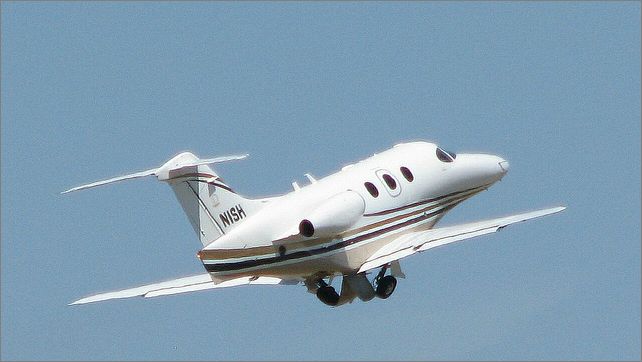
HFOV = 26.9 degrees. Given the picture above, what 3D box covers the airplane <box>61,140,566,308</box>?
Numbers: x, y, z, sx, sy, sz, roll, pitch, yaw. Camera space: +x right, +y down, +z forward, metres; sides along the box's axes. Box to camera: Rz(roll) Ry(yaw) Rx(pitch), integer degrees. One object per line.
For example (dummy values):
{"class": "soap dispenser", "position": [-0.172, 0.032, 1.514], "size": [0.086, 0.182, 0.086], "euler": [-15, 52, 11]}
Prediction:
{"class": "airplane", "position": [0.512, 1.301, 45.083], "size": [8.219, 3.180, 9.965], "euler": [-15, 7, -32]}
